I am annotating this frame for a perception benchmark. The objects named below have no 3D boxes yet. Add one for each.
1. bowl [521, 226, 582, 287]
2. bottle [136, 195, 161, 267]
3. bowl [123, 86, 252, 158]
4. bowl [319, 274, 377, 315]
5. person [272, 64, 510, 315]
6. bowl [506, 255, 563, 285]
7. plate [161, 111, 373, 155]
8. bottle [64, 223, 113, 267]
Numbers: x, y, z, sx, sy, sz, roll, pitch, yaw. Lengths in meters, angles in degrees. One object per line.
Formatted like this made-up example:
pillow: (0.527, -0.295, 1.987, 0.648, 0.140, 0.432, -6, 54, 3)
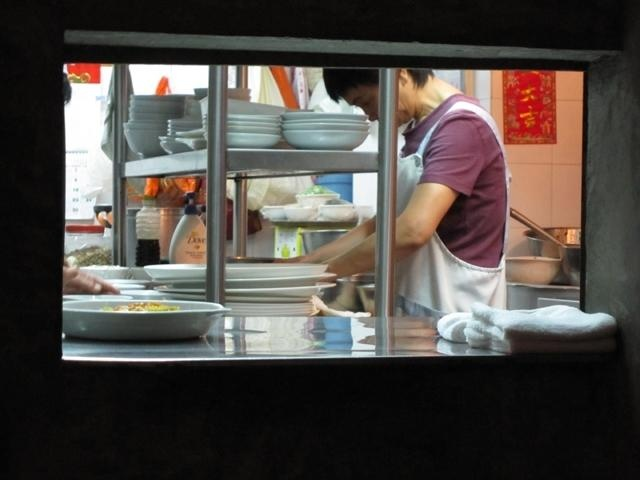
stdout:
bowl: (1.093, 0.088, 3.317, 0.268, 0.180, 0.272, 0, -3, 0)
bottle: (-0.525, -0.024, 2.170, 0.073, 0.204, 0.123, -1, 3, -15)
bowl: (-0.394, -0.333, 1.981, 0.257, 0.119, 0.215, -9, 7, -29)
bowl: (0.108, 0.189, 2.457, 0.136, 0.120, 0.157, 0, -4, 2)
person: (0.312, -0.161, 2.346, 0.608, 0.840, 0.580, 1, 3, 15)
bowl: (1.026, 0.153, 3.454, 0.120, 0.134, 0.299, -2, 4, -37)
plate: (-0.145, -0.251, 1.729, 0.405, 0.093, 0.435, -1, 4, -27)
bottle: (-1.195, 0.030, 3.671, 0.205, 0.357, 0.204, 0, -1, 0)
